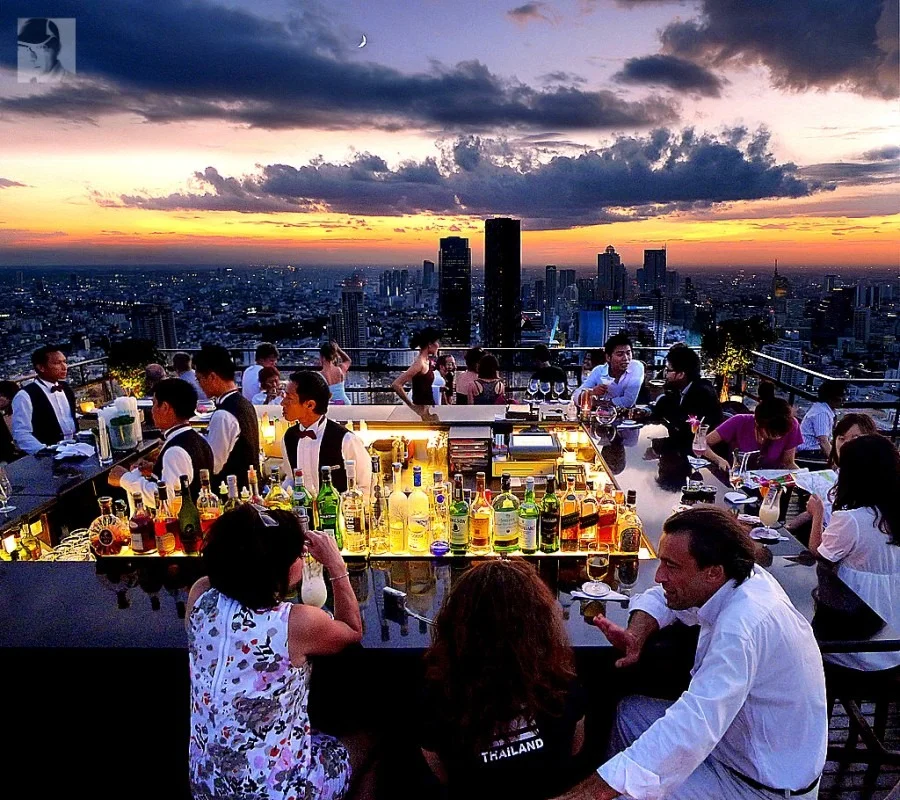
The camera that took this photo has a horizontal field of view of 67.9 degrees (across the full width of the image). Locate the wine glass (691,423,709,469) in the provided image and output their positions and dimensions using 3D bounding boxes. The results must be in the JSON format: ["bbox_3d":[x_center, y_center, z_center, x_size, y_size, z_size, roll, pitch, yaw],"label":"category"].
[{"bbox_3d":[1.573,0.279,4.227,0.099,0.243,0.389,3,8,20],"label":"wine glass"}]

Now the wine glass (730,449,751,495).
[{"bbox_3d":[1.660,0.397,3.868,0.082,0.204,0.240,3,8,24],"label":"wine glass"}]
